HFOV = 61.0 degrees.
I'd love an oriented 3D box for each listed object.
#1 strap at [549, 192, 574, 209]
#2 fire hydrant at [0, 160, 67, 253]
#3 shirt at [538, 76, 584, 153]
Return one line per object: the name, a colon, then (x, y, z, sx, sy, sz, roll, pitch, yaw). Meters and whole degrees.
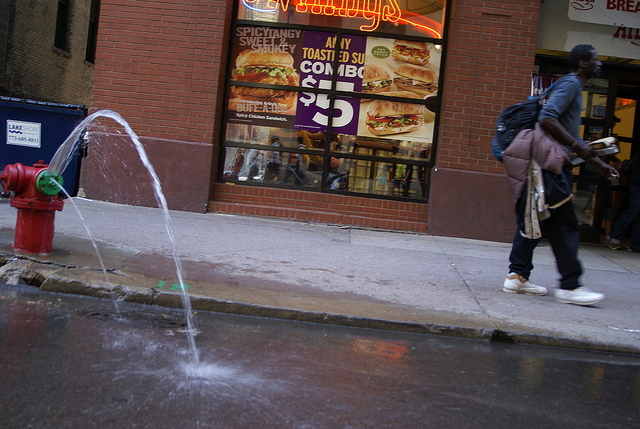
strap: (2.609, -0.142, 5.827, 0.300, 0.184, 0.101, -1, 14, -39)
fire hydrant: (-3.099, -0.095, 5.847, 0.605, 1.000, 0.314, 4, 12, -25)
shirt: (2.601, -1.146, 5.759, 0.482, 0.678, 0.316, 10, 10, 10)
